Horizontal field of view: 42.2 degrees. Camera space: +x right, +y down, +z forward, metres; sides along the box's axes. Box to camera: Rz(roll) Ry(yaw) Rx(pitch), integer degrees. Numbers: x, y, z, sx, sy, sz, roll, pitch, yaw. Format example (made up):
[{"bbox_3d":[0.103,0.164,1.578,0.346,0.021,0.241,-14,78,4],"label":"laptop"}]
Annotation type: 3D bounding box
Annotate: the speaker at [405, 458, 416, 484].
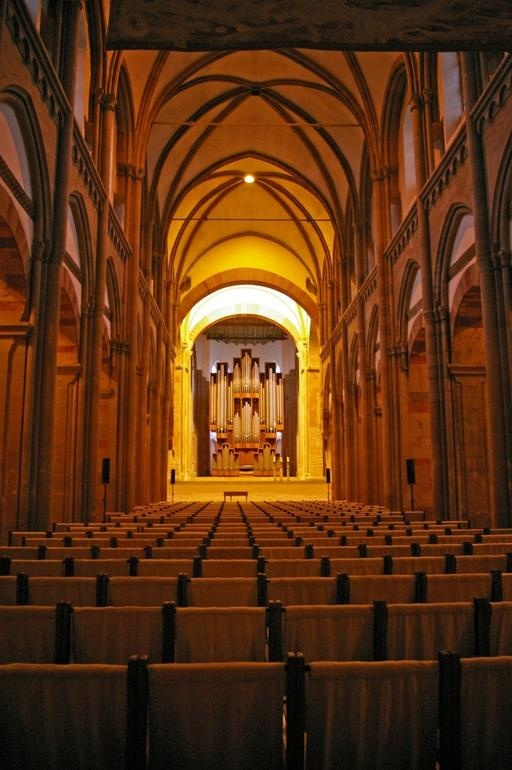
[{"bbox_3d":[3.129,1.742,13.387,0.137,0.509,0.401,-1,-13,8],"label":"speaker"}]
